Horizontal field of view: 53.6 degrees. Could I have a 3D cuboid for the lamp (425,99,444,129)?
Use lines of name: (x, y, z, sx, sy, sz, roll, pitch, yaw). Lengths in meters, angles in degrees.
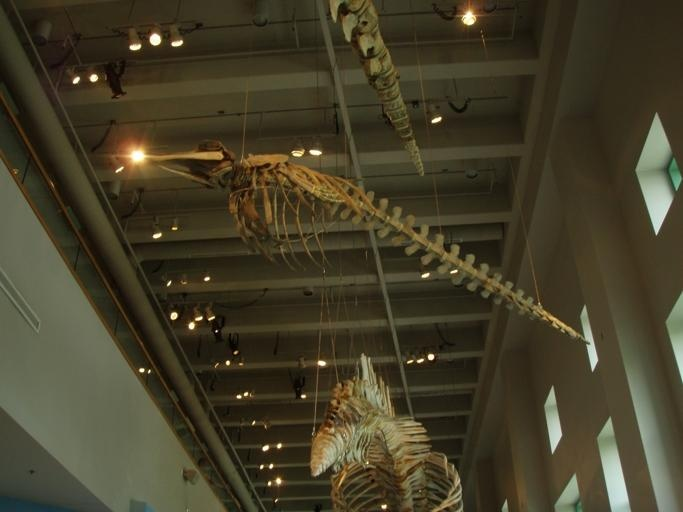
lamp: (1.504, -2.336, 11.057, 0.237, 0.713, 0.335, -5, -46, 7)
